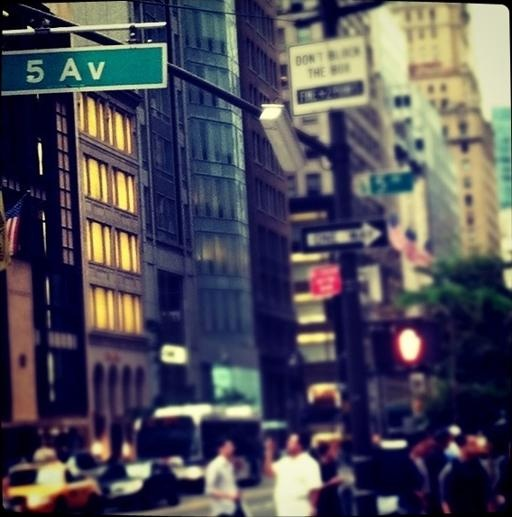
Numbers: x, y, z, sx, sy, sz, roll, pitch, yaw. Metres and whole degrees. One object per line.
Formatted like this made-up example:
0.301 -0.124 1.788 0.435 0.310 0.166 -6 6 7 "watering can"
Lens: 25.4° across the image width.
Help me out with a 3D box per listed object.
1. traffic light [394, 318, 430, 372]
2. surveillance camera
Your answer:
1.702 0.891 12.161 0.427 0.526 0.266 0 -11 -43 "traffic light"
0.291 -1.357 12.771 0.297 0.837 0.564 -10 -9 18 "surveillance camera"
